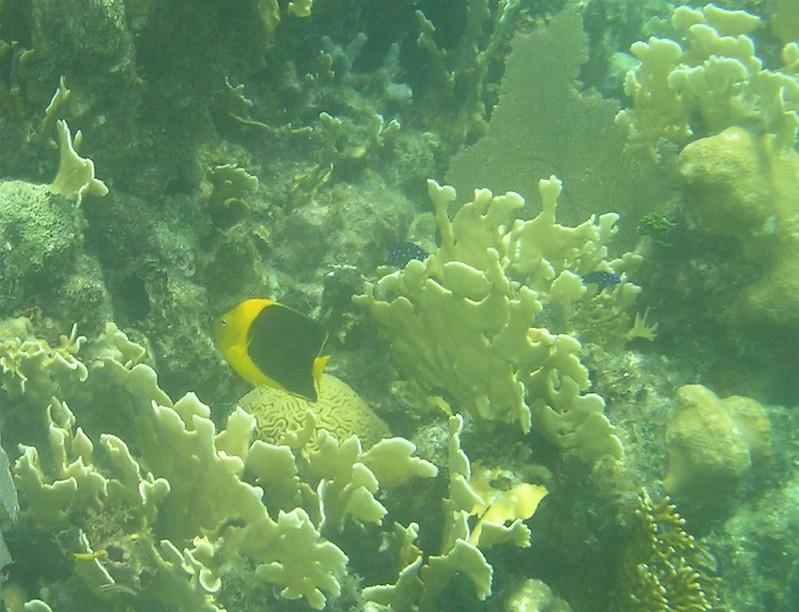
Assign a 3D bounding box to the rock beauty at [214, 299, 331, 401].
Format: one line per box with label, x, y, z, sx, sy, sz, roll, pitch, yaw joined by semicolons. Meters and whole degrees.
rock beauty;-0.913;0.330;7.228;0.610;0.440;0.223;25;6;1
